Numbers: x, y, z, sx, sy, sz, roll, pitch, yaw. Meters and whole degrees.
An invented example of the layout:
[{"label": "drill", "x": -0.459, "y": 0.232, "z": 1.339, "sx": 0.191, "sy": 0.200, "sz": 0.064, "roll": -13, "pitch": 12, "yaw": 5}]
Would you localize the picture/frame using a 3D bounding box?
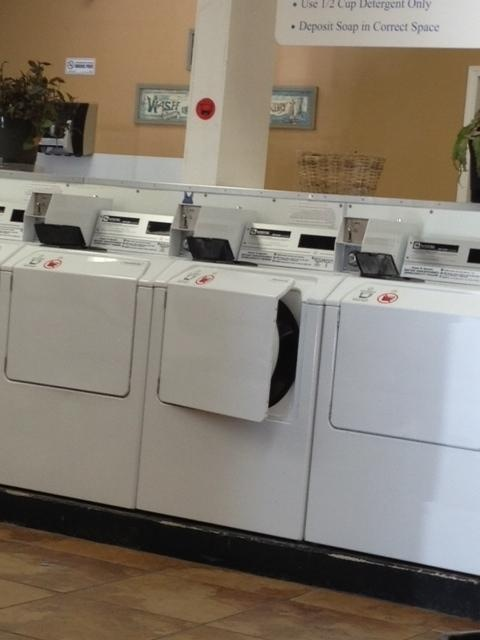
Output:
[{"label": "picture/frame", "x": -0.163, "y": -2.074, "z": 5.339, "sx": 1.836, "sy": 0.469, "sz": 0.214, "roll": 3, "pitch": -10, "yaw": 11}]
